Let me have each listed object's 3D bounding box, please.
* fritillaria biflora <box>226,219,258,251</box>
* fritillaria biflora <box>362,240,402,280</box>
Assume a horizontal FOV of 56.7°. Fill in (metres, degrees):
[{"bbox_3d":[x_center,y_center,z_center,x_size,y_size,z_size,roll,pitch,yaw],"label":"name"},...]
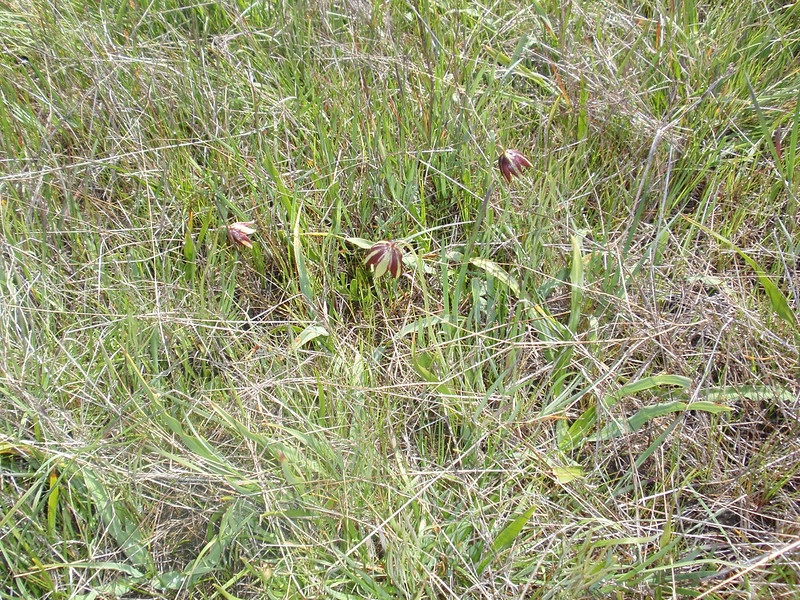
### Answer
[{"bbox_3d":[-0.362,-0.151,1.698,0.028,0.067,0.058,2,29,-39],"label":"fritillaria biflora"},{"bbox_3d":[-0.040,-0.085,1.609,0.069,0.048,0.081,-16,96,0],"label":"fritillaria biflora"}]
